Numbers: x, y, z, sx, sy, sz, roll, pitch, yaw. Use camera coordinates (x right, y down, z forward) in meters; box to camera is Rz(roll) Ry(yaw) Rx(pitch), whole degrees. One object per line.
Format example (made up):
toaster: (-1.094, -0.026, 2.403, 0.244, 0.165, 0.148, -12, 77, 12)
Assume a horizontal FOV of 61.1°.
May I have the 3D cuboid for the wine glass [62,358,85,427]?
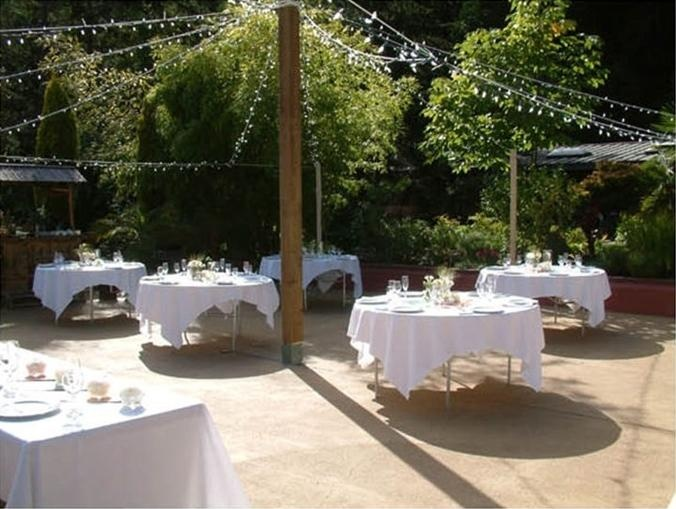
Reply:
wine glass: (-1.564, 0.803, 3.368, 0.120, 0.356, 0.121, -8, 24, -36)
